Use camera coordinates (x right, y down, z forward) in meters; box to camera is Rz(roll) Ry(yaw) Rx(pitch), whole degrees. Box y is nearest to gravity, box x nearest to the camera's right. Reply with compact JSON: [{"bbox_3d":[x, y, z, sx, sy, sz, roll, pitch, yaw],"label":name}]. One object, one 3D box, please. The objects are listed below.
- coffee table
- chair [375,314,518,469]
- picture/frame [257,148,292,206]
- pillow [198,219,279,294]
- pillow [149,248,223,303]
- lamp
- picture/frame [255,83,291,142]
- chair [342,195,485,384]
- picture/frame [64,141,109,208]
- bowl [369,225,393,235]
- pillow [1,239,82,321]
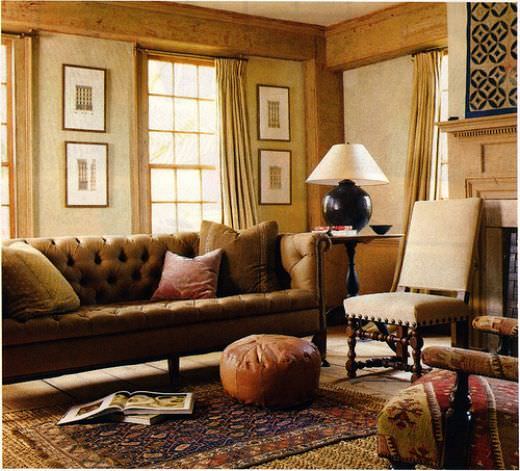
[{"bbox_3d":[0.875,0.371,4.326,0.663,0.733,0.680,5,-8,-45],"label":"coffee table"},{"bbox_3d":[0.609,0.497,1.395,0.353,0.374,0.497,-3,-2,37],"label":"chair"},{"bbox_3d":[0.169,-0.666,5.259,0.410,0.460,0.051,-1,-1,-29],"label":"picture/frame"},{"bbox_3d":[-0.151,0.179,3.444,0.626,0.615,0.350,-3,13,13],"label":"pillow"},{"bbox_3d":[-0.489,0.284,3.163,0.438,0.390,0.222,-2,-10,8],"label":"pillow"},{"bbox_3d":[0.822,-0.424,4.310,0.747,0.801,0.768,-1,3,-3],"label":"lamp"},{"bbox_3d":[0.156,-1.381,5.232,0.413,0.612,0.027,10,26,23],"label":"picture/frame"},{"bbox_3d":[1.002,0.332,3.007,0.853,1.171,0.810,1,-2,3],"label":"chair"},{"bbox_3d":[-1.602,-0.571,4.303,0.375,0.610,0.047,-2,-12,-15],"label":"picture/frame"},{"bbox_3d":[1.143,-0.060,4.311,0.134,0.050,0.137,1,-8,0],"label":"bowl"},{"bbox_3d":[-1.234,0.250,2.531,0.309,0.370,0.391,-1,-2,3],"label":"pillow"}]
